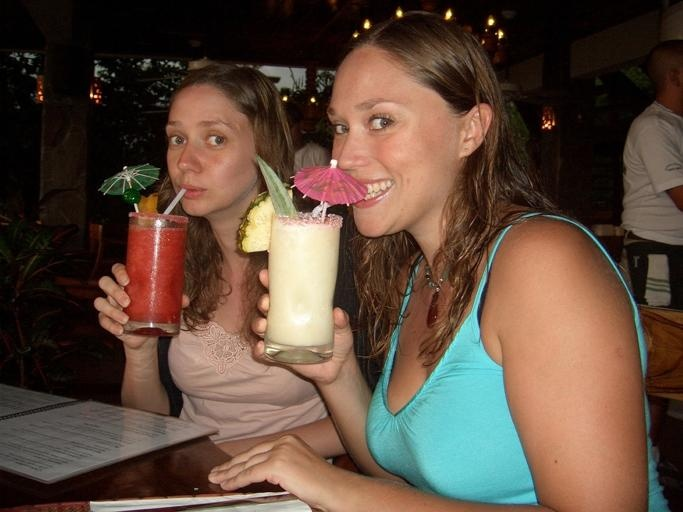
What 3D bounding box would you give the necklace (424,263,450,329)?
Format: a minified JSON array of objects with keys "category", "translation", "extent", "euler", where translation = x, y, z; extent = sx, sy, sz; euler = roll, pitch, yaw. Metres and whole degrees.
[{"category":"necklace","translation":[0.317,0.138,1.903],"extent":[0.071,0.189,0.036],"euler":[0,-28,13]}]
